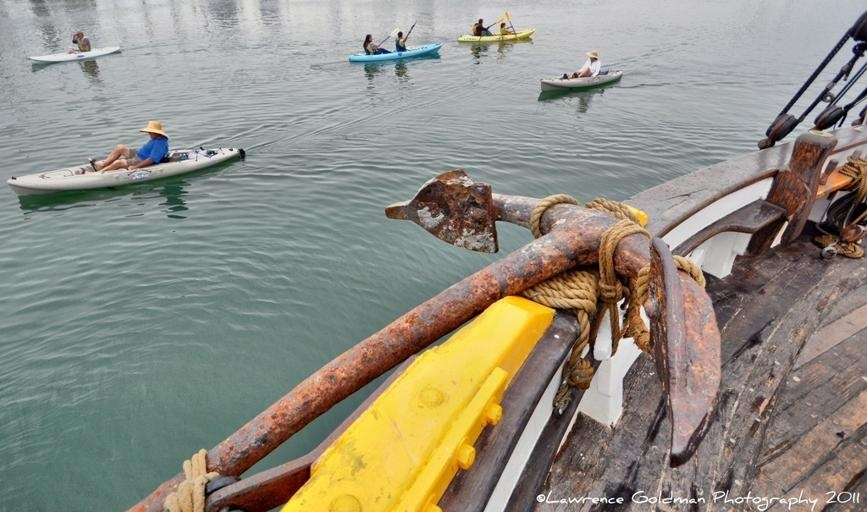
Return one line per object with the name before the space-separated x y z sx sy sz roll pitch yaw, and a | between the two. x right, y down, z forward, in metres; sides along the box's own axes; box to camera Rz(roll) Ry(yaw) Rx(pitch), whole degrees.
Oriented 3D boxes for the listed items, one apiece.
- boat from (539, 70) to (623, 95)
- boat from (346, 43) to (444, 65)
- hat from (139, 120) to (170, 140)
boat | 6.436 -7.477 25.400 3.765 0.643 0.994 -15 46 -17
boat | -1.777 -10.635 31.255 5.534 0.685 1.775 -9 46 -12
hat | -8.141 -3.691 17.299 0.396 0.497 0.382 -26 40 -29
